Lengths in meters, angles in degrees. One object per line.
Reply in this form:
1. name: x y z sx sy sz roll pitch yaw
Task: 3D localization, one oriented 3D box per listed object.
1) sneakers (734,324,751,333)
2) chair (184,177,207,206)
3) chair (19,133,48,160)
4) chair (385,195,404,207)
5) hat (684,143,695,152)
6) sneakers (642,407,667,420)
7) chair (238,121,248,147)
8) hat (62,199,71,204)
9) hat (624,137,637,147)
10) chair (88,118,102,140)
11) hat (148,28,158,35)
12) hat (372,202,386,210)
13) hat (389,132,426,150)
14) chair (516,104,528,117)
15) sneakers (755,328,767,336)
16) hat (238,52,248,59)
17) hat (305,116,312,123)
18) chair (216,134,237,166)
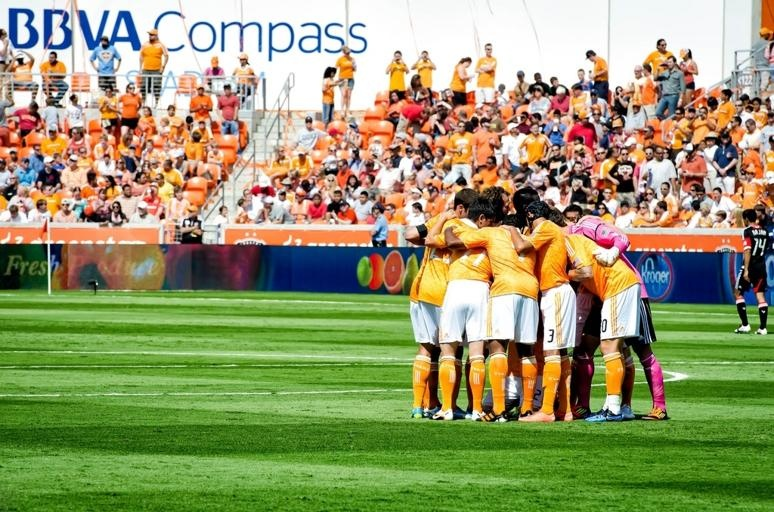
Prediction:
1. sneakers: 8.133 1.627 45.157 0.431 0.190 0.257 0 0 -17
2. chair: -5.524 -1.920 56.776 0.517 0.742 0.833 0 0 -2
3. chair: -10.770 -3.247 59.320 0.867 1.052 1.008 1 7 -23
4. chair: 0.215 -1.584 54.171 0.420 0.486 0.333 6 1 -11
5. hat: 7.914 -2.860 51.744 0.311 0.280 0.312 0 0 -3
6. sneakers: 5.174 3.016 38.254 0.402 0.186 0.245 0 -8 2
7. chair: -4.381 -3.723 59.727 0.479 0.647 0.676 -3 -13 -7
8. hat: -8.823 -1.543 54.122 0.146 0.134 0.245 2 -6 -7
9. hat: 6.474 -3.094 52.981 0.259 0.286 0.801 0 0 15
10. chair: -8.973 -3.900 60.269 0.505 0.753 0.632 1 -1 -4
11. hat: -7.053 -6.745 59.169 0.286 0.129 0.387 2 6 6
12. hat: -0.250 -1.355 52.669 0.223 0.239 0.194 -41 19 -16
13. hat: 0.489 -3.310 56.279 0.757 0.259 0.558 1 -3 -32
14. chair: 3.789 -4.191 56.409 0.292 0.226 0.396 -1 6 14
15. sneakers: 8.539 1.674 45.124 0.244 0.150 0.445 0 0 15
16. hat: -4.504 -6.205 60.824 0.236 0.138 0.319 0 6 2
17. hat: -2.323 -4.009 57.305 0.164 0.113 0.198 -1 -6 -4
18. chair: -4.751 -3.207 58.892 0.637 0.924 0.847 -1 44 -2
